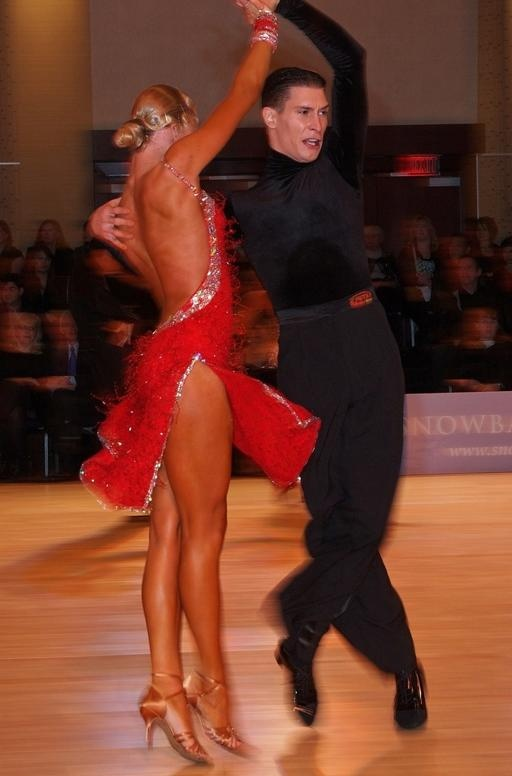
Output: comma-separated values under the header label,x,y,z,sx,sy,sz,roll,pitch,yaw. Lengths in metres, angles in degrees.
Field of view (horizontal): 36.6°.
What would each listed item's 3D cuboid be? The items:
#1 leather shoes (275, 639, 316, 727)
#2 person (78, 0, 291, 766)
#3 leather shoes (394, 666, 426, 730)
label,x,y,z,sx,sy,sz,roll,pitch,yaw
leather shoes,0.100,0.685,1.801,0.072,0.191,0.083,-13,-4,-14
person,-0.155,-0.013,1.549,0.410,1.525,0.278,0,3,38
leather shoes,0.334,0.687,1.700,0.059,0.147,0.065,3,-2,8
